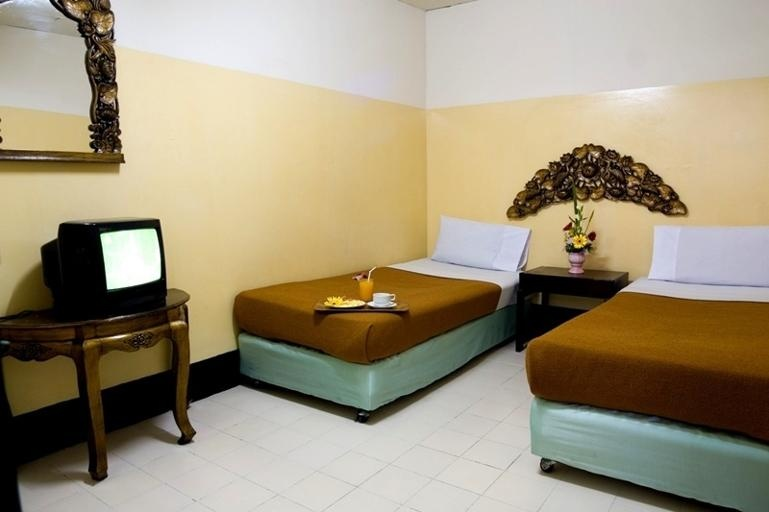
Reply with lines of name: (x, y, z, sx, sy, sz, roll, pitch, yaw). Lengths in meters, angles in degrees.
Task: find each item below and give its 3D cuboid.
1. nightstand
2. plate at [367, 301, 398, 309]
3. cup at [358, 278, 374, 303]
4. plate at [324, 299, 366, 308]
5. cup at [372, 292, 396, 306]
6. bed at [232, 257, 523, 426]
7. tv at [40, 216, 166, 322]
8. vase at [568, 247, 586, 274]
nightstand: (1.674, 0.250, 4.653, 0.881, 0.797, 0.772, 5, 8, 39)
plate: (-0.007, 0.337, 3.620, 0.208, 0.031, 0.143, -1, 11, -10)
cup: (-0.136, 0.250, 3.809, 0.092, 0.159, 0.104, -1, 11, -9)
plate: (-0.274, 0.325, 3.625, 0.303, 0.047, 0.164, -3, 12, -17)
cup: (0.001, 0.307, 3.670, 0.088, 0.056, 0.128, -2, -2, 37)
bed: (0.216, 0.526, 4.110, 1.045, 0.551, 1.743, 5, 10, 38)
tv: (-1.636, 0.019, 3.229, 0.607, 0.637, 0.645, 2, 6, 29)
vase: (1.683, 0.045, 4.603, 0.188, 0.234, 0.195, 1, 5, 18)
